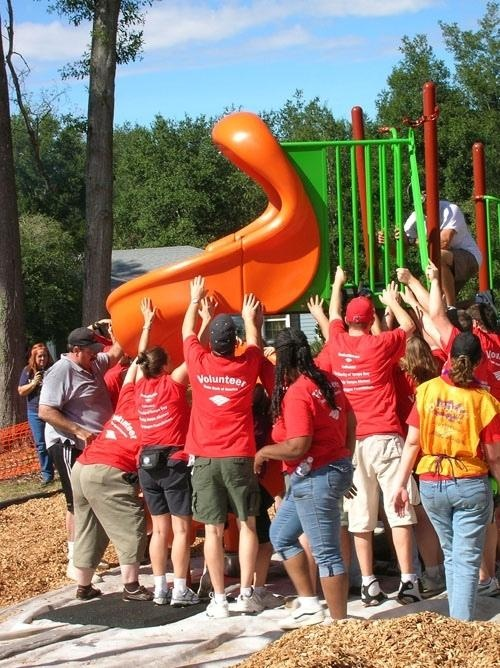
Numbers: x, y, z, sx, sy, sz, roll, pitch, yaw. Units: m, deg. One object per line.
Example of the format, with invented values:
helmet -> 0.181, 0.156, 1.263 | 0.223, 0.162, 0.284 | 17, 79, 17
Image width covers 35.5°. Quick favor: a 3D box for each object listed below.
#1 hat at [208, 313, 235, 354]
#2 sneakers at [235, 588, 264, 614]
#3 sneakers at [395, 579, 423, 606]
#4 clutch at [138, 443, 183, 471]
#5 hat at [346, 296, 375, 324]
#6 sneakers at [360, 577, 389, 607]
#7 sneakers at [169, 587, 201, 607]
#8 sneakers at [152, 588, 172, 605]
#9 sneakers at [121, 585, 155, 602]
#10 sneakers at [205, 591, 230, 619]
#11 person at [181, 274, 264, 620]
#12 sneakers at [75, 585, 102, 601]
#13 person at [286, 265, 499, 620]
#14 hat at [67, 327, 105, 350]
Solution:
hat -> -0.153, -0.003, 4.319 | 0.141, 0.207, 0.115 | 2, -13, -2
sneakers -> 0.005, 1.503, 4.455 | 0.087, 0.093, 0.227 | 0, 3, 17
sneakers -> 0.877, 1.433, 4.386 | 0.145, 0.136, 0.125 | -9, -7, 25
clutch -> -0.516, 0.722, 4.609 | 0.156, 0.083, 0.204 | -4, -5, 40
hat -> 0.632, -0.132, 4.492 | 0.154, 0.169, 0.162 | -6, -6, 6
sneakers -> 0.700, 1.465, 4.478 | 0.080, 0.149, 0.234 | 0, 1, 36
sneakers -> -0.382, 1.549, 4.654 | 0.201, 0.084, 0.078 | 2, -4, -44
sneakers -> -0.522, 1.562, 4.683 | 0.056, 0.056, 0.146 | 1, 2, 17
sneakers -> -0.683, 1.570, 4.752 | 0.227, 0.095, 0.074 | 2, 9, -1
sneakers -> -0.160, 1.480, 4.276 | 0.076, 0.084, 0.187 | 1, -2, -5
person -> -0.118, 0.610, 4.456 | 0.504, 1.926, 0.571 | -6, -7, 0
sneakers -> -1.013, 1.620, 4.968 | 0.075, 0.073, 0.189 | 0, 0, 26
person -> 0.772, 0.506, 4.430 | 0.550, 2.005, 1.457 | -5, -7, -11
hat -> -1.111, 0.028, 5.265 | 0.221, 0.170, 0.249 | -4, -7, -10
